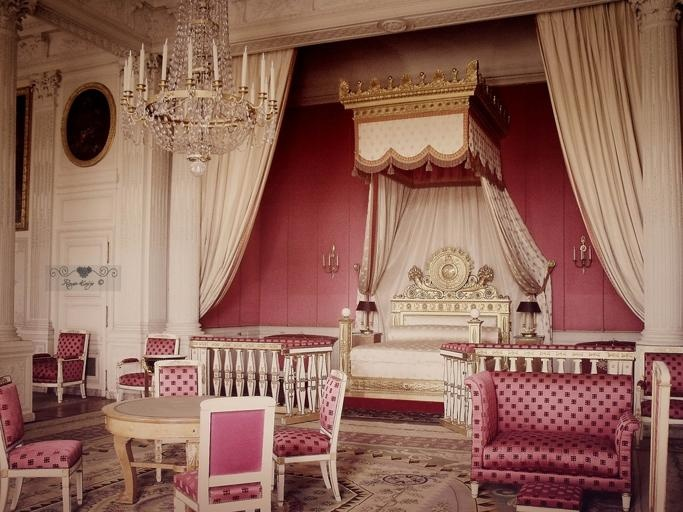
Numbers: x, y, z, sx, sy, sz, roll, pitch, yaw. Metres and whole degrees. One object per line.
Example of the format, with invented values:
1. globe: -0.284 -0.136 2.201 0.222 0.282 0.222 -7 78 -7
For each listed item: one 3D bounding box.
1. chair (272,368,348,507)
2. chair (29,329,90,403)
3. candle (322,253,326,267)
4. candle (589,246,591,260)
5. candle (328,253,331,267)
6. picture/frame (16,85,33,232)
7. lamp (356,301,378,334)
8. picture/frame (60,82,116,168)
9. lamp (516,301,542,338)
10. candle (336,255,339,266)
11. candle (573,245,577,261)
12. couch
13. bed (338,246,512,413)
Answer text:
1. chair: -0.255 1.710 6.059 0.860 1.696 0.946 3 -9 -7
2. chair: -4.455 1.690 9.784 0.982 1.424 0.928 -3 -4 32
3. candle: -0.346 0.093 11.183 0.073 0.236 0.026 0 -1 20
4. candle: 3.981 -0.043 9.582 0.050 0.193 0.041 0 -1 25
5. candle: -0.234 0.067 11.140 0.067 0.211 0.033 0 -1 10
6. picture/frame: -5.644 -1.707 10.523 0.436 2.539 0.149 -1 -1 33
7. lamp: 0.435 1.042 10.491 0.429 0.688 0.462 0 -8 1
8. picture/frame: -4.231 -2.160 10.018 1.341 1.862 0.119 -1 -2 37
9. lamp: 2.999 0.992 9.593 0.460 0.725 0.481 -2 -2 35
10. candle: -0.082 0.092 11.094 0.062 0.185 0.023 0 -1 -3
11. candle: 3.765 -0.043 9.659 0.032 0.215 0.021 0 -1 15
12. couch: 1.897 1.591 5.356 1.663 1.337 0.984 -3 -9 20
13. bed: 1.370 1.185 9.749 2.249 2.675 2.418 -2 -7 29
